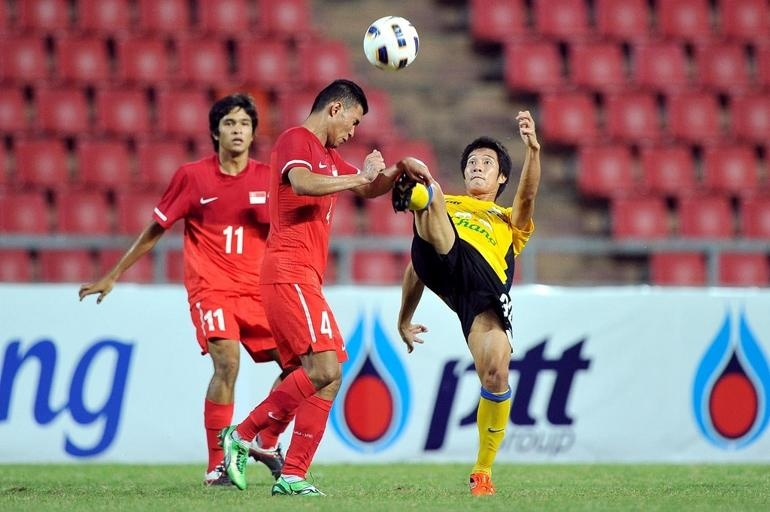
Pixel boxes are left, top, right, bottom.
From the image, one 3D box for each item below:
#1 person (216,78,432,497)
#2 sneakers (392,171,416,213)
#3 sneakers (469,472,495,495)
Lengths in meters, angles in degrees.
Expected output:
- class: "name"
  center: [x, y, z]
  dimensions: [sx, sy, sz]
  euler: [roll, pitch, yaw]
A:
- class: "person"
  center: [-0.792, 0.321, 13.361]
  dimensions: [1.394, 4.183, 0.676]
  euler: [-3, -7, 35]
- class: "sneakers"
  center: [0.170, -0.617, 13.189]
  dimensions: [0.217, 0.383, 0.113]
  euler: [2, -2, 18]
- class: "sneakers"
  center: [0.983, 2.320, 13.366]
  dimensions: [0.251, 0.227, 0.212]
  euler: [0, -6, 2]
